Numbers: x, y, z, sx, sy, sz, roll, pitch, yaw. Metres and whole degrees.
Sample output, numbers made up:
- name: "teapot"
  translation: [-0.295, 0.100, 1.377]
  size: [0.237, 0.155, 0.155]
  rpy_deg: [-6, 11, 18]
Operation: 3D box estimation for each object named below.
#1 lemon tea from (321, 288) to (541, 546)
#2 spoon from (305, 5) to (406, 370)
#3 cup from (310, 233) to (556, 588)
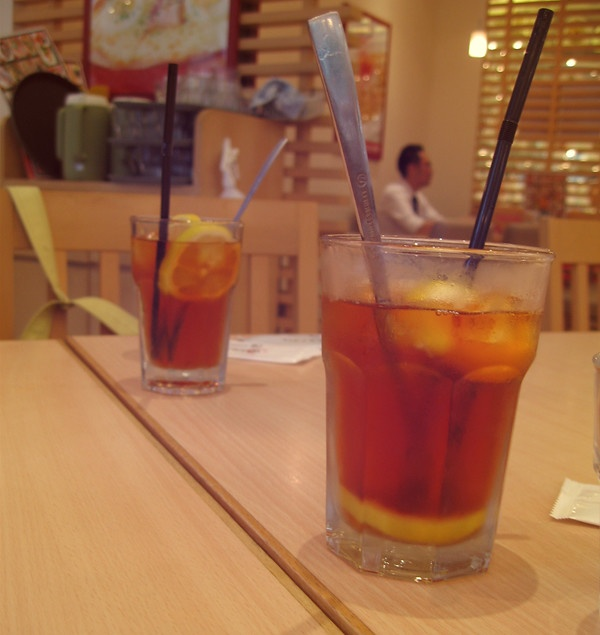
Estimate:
- name: "lemon tea"
  translation: [0.066, 0.055, 0.329]
  size: [0.119, 0.126, 0.111]
  rpy_deg: [7, -10, -12]
- name: "spoon"
  translation: [0.026, -0.067, 0.312]
  size: [0.032, 0.206, 0.024]
  rpy_deg: [-9, 6, -1]
- name: "cup"
  translation: [0.069, 0.042, 0.335]
  size: [0.125, 0.157, 0.116]
  rpy_deg: [5, 4, 0]
